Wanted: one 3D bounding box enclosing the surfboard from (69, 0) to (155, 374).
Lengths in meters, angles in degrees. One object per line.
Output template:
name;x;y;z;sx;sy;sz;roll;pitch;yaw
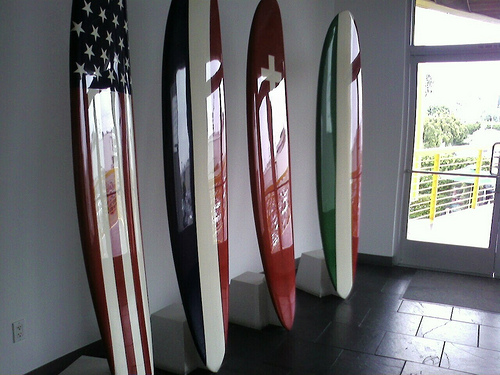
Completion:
surfboard;-0.739;0.292;2.320;0.165;2.485;0.349;2;7;38

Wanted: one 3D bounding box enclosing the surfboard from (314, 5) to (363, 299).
surfboard;0.726;-0.268;3.512;0.372;2.271;0.478;2;10;9

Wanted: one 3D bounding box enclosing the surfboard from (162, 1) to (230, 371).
surfboard;-0.308;-0.119;2.583;0.161;2.466;0.362;1;2;38

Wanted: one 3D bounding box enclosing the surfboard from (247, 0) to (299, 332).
surfboard;0.158;-0.196;3.034;0.329;2.505;0.165;0;-1;-44
